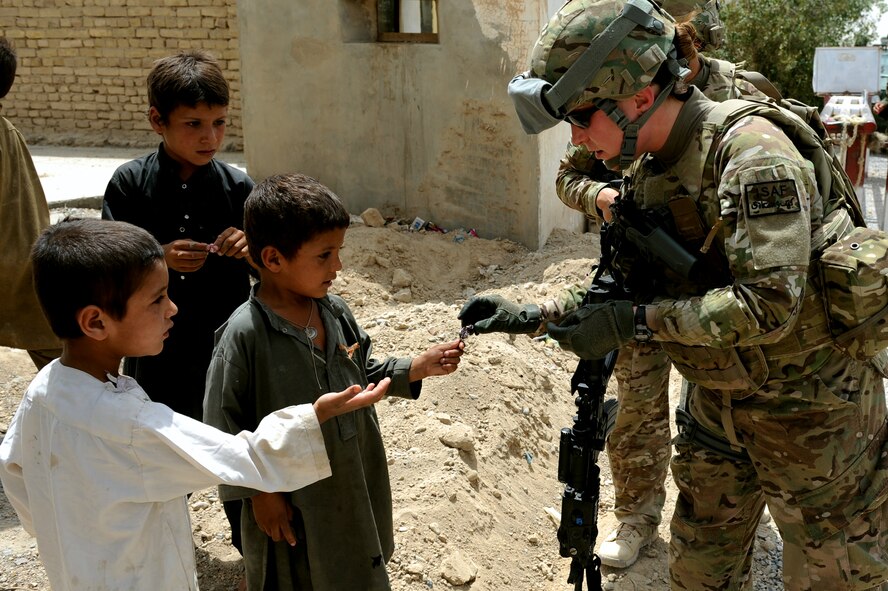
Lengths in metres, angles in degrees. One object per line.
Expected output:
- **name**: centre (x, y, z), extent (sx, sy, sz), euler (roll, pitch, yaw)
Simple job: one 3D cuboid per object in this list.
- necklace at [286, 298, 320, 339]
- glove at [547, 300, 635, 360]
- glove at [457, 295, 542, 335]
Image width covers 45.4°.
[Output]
- **necklace**: centre (-0.649, 0.086, 4.898), extent (0.137, 0.191, 0.047), euler (-16, -9, -27)
- **glove**: centre (0.674, 0.166, 4.894), extent (0.385, 0.299, 0.197), euler (1, 12, 2)
- **glove**: centre (0.289, 0.095, 5.182), extent (0.313, 0.126, 0.210), euler (-2, 0, -13)
